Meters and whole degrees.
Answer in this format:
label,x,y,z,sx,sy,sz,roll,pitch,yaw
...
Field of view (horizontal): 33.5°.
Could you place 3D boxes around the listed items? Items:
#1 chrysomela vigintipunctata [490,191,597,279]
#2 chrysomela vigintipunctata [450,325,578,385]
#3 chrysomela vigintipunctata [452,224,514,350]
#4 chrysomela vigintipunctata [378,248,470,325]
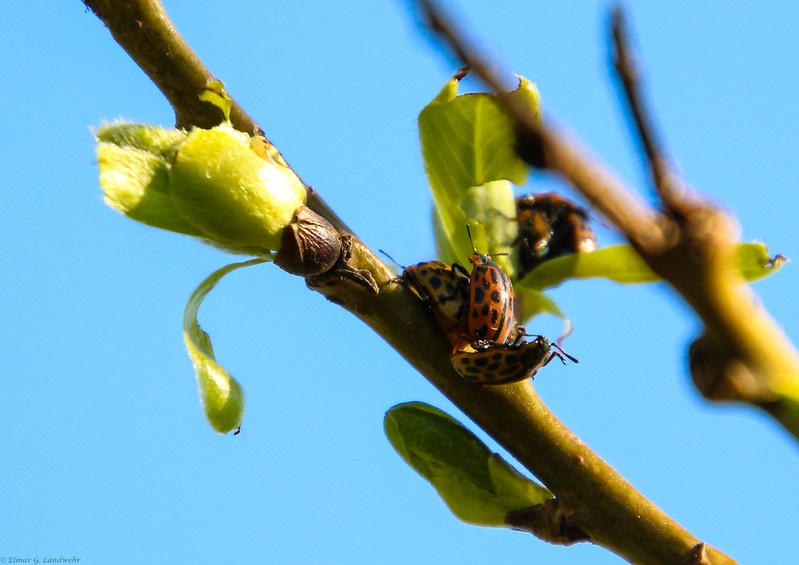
label,x,y,z,sx,sy,sz,roll,pitch,yaw
chrysomela vigintipunctata,0.337,-0.130,2.980,0.185,0.125,0.196,-4,-46,-29
chrysomela vigintipunctata,0.185,0.140,2.522,0.190,0.070,0.181,-10,-3,20
chrysomela vigintipunctata,0.194,0.004,2.757,0.162,0.292,0.091,19,-52,-19
chrysomela vigintipunctata,0.061,0.006,2.726,0.163,0.137,0.057,27,-76,15
